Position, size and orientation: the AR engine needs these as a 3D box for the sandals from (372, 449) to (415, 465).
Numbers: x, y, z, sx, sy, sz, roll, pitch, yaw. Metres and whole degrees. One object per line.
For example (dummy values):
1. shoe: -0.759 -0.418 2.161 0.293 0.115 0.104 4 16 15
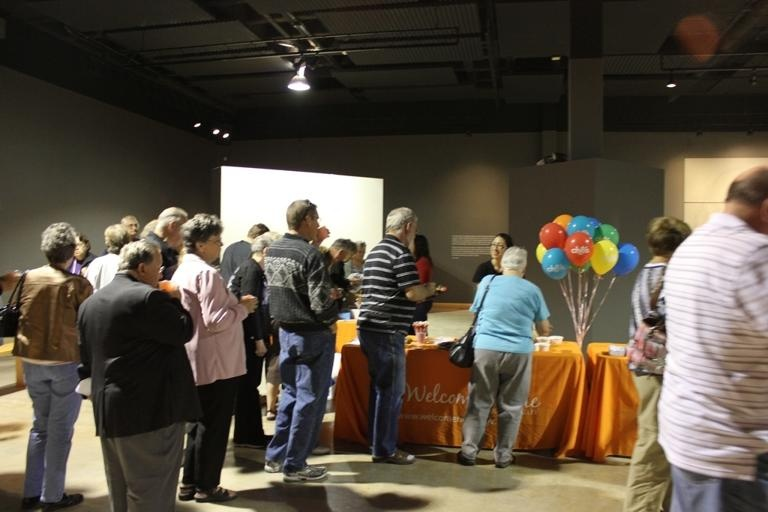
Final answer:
1. sandals: 0.093 1.808 5.533 0.389 0.160 0.139 0 -10 0

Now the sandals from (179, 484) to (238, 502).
1. sandals: -1.422 1.913 4.925 0.419 0.139 0.166 1 -7 -6

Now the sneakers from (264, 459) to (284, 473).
1. sneakers: -0.956 1.827 5.301 0.170 0.077 0.072 2 -1 -16

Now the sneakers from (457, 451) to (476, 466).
1. sneakers: 0.746 1.811 5.489 0.141 0.089 0.113 -1 -3 29

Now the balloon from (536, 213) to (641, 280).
1. balloon: 2.043 -0.095 6.214 0.818 0.476 0.809 -9 14 -38

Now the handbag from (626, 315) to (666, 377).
1. handbag: 1.904 0.653 4.395 0.294 0.390 0.167 12 11 32

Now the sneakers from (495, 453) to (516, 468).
1. sneakers: 1.103 1.822 5.504 0.077 0.096 0.234 4 8 41

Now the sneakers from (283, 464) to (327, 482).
1. sneakers: -0.674 1.819 5.220 0.375 0.162 0.137 -1 -2 -16

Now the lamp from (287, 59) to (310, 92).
1. lamp: -1.326 -2.811 9.469 0.272 0.462 0.647 0 8 -7

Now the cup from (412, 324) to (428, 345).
1. cup: 0.361 0.765 5.950 0.186 0.231 0.186 -1 -14 0
